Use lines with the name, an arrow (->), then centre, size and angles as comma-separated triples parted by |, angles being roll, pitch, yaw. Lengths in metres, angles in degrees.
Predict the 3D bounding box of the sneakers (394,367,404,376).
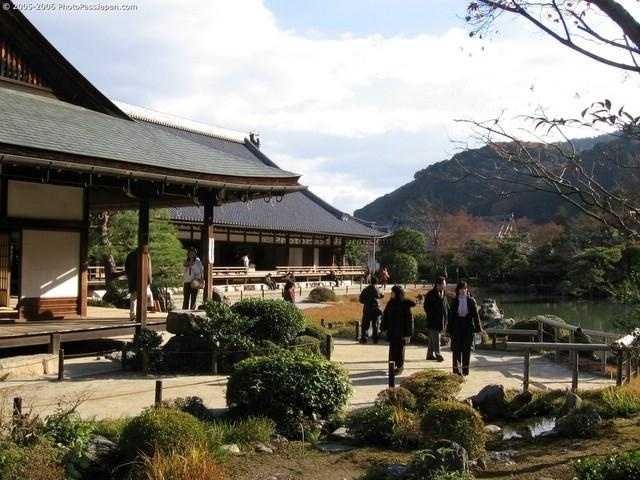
sneakers -> 1.434, 2.368, 11.550 | 0.128, 0.147, 0.369 | -2, -3, 14

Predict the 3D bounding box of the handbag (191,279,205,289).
handbag -> -2.613, 0.915, 13.636 | 0.218, 0.210, 0.085 | 3, 1, -24

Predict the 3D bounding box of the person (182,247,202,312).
person -> -2.758, 0.818, 13.891 | 0.408, 1.381, 1.985 | 2, -3, -12

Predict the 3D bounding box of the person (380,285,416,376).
person -> 1.386, 1.596, 11.427 | 0.585, 1.571, 0.662 | 1, -3, 7

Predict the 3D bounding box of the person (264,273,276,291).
person -> -2.351, 1.901, 29.143 | 0.556, 0.836, 0.688 | -5, -13, 44

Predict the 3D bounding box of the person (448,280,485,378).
person -> 2.565, 1.575, 11.343 | 0.569, 1.700, 1.249 | 0, -3, 13

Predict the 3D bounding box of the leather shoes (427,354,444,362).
leather shoes -> 2.320, 2.361, 12.806 | 0.371, 0.158, 0.126 | -1, 0, 10
